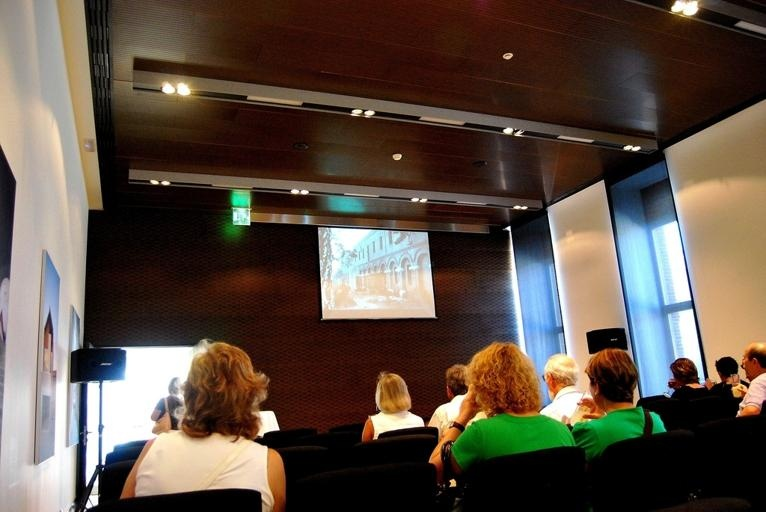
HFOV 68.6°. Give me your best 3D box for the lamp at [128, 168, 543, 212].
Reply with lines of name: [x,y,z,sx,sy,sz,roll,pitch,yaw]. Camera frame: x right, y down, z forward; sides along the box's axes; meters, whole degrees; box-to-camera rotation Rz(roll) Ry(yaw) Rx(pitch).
lamp: [-1.133,-0.909,8.399,3.593,0.108,0.446,2,-33,-16]

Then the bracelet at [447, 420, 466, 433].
bracelet: [0.496,1.098,3.662,0.099,0.058,0.099,36,-25,-34]
